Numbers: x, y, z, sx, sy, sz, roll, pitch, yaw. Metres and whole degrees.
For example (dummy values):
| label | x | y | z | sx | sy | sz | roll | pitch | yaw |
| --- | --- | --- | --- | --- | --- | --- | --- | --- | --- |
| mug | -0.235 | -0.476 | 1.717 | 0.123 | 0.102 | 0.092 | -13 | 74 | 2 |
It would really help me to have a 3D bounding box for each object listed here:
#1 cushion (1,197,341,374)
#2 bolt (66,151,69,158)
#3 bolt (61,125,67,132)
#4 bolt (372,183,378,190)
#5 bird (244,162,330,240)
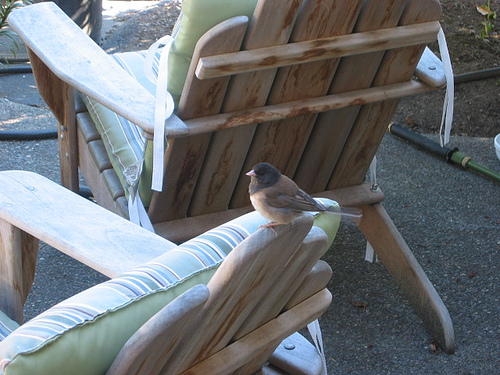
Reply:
| label | x | y | z | sx | sy | sz | roll | pitch | yaw |
| --- | --- | --- | --- | --- | --- | --- | --- | --- | --- |
| cushion | -0.275 | 0.277 | 1.604 | 0.729 | 0.147 | 0.187 | -28 | 45 | -37 |
| bolt | -0.879 | -0.157 | 3.041 | 0.005 | 0.046 | 0.033 | -19 | 40 | -29 |
| bolt | -0.880 | -0.273 | 2.982 | 0.023 | 0.028 | 0.028 | 4 | -2 | -4 |
| bolt | 0.564 | 0.001 | 2.862 | 0.020 | 0.024 | 0.023 | 4 | -14 | 6 |
| bird | 0.137 | 0.043 | 1.985 | 0.250 | 0.226 | 0.153 | 1 | 0 | 10 |
